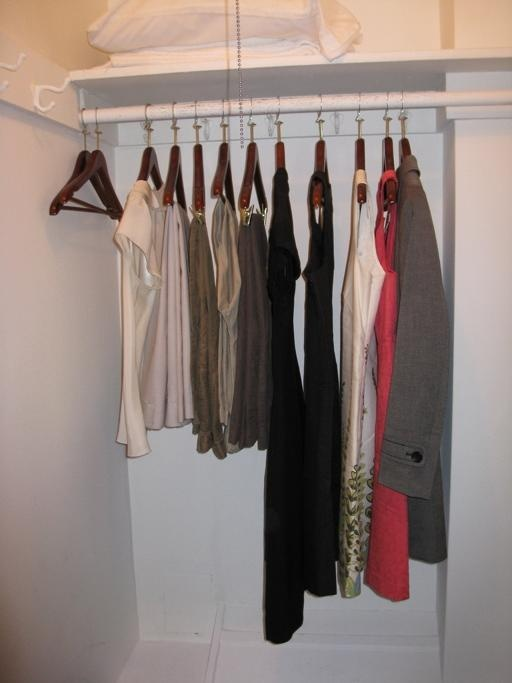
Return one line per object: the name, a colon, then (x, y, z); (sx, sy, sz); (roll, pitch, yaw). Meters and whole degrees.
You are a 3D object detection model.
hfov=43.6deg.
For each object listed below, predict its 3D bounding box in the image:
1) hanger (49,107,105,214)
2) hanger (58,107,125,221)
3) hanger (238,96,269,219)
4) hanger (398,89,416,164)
hanger: (-0.385, -0.422, 1.516); (0.020, 0.238, 0.217); (5, 2, 23)
hanger: (-0.385, -0.428, 1.522); (0.027, 0.258, 0.219); (0, -1, 24)
hanger: (-0.006, -0.405, 1.465); (0.069, 0.228, 0.016); (5, 12, 40)
hanger: (0.362, -0.527, 1.544); (0.028, 0.276, 0.124); (-1, 24, 9)
